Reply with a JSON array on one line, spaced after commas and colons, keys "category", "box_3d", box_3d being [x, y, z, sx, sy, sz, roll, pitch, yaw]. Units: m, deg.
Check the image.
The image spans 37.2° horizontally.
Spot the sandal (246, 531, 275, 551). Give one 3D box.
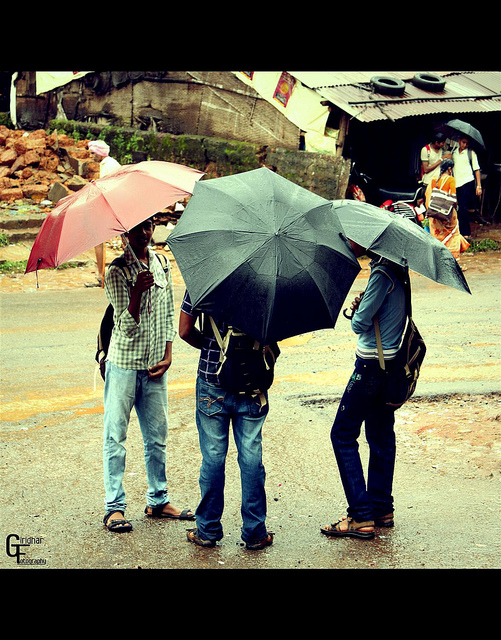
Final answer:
[{"category": "sandal", "box_3d": [0.057, 1.238, 4.148, 0.058, 0.075, 0.165, 16, 27, 34]}]

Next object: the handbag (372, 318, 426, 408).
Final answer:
[{"category": "handbag", "box_3d": [0.854, 0.241, 4.260, 0.329, 0.531, 0.135, -9, 17, -32]}]

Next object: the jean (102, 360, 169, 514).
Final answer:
[{"category": "jean", "box_3d": [-0.668, 0.690, 4.315, 0.439, 0.956, 0.313, -7, 16, -24]}]

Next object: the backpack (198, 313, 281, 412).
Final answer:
[{"category": "backpack", "box_3d": [-0.032, 0.247, 3.896, 0.361, 0.507, 0.151, -1, 14, -4]}]

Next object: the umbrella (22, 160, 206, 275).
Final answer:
[{"category": "umbrella", "box_3d": [-0.724, -0.573, 3.944, 0.759, 0.257, 0.768, -27, 10, 4]}]

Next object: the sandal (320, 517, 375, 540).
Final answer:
[{"category": "sandal", "box_3d": [0.555, 1.202, 4.238, 0.289, 0.134, 0.117, 5, 0, 11]}]

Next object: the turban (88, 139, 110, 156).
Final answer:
[{"category": "turban", "box_3d": [-2.021, -2.264, 9.870, 0.204, 0.180, 0.492, -1, 15, -4]}]

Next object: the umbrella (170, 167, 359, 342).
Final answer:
[{"category": "umbrella", "box_3d": [0.079, -0.329, 3.670, 0.937, 0.726, 0.652, -2, 15, -7]}]

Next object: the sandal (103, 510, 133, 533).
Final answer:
[{"category": "sandal", "box_3d": [-0.739, 1.145, 4.178, 0.075, 0.082, 0.203, 3, -10, -23]}]

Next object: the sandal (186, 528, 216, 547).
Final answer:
[{"category": "sandal", "box_3d": [-0.280, 1.214, 4.133, 0.069, 0.078, 0.182, -2, 12, -39]}]

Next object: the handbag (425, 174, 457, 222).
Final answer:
[{"category": "handbag", "box_3d": [2.928, -1.908, 11.142, 0.407, 0.898, 0.149, 19, -15, 16]}]

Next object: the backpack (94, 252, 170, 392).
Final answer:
[{"category": "backpack", "box_3d": [-0.748, 0.057, 4.454, 0.356, 0.563, 0.556, -4, 11, -14]}]

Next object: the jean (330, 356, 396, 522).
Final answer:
[{"category": "jean", "box_3d": [0.666, 0.695, 4.315, 0.285, 0.958, 0.415, 12, 19, 41]}]

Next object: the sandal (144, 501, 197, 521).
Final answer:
[{"category": "sandal", "box_3d": [-0.453, 1.156, 4.403, 0.341, 0.137, 0.126, 0, 3, -3]}]

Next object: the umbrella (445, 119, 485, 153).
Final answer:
[{"category": "umbrella", "box_3d": [3.727, -3.198, 13.015, 0.633, 0.551, 0.755, 3, 15, 14]}]

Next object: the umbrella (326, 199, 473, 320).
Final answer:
[{"category": "umbrella", "box_3d": [0.692, -0.281, 4.085, 0.215, 0.604, 0.605, -15, 22, -4]}]

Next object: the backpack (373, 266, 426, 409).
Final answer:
[{"category": "backpack", "box_3d": [0.836, 0.121, 4.408, 0.437, 0.794, 0.421, 6, -7, -5]}]
